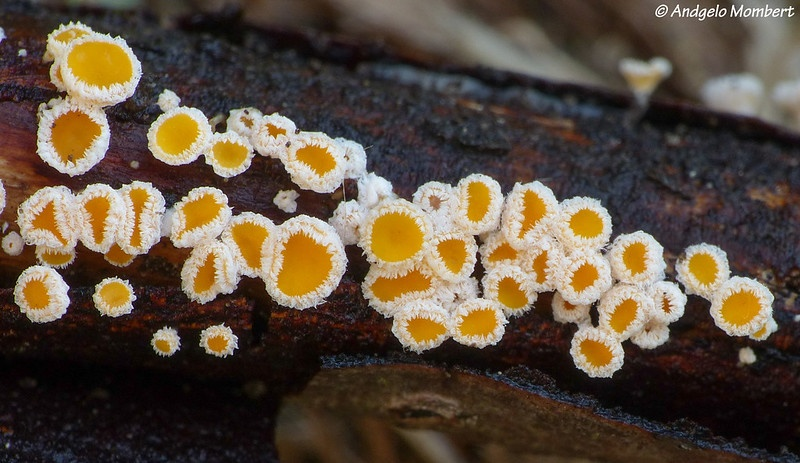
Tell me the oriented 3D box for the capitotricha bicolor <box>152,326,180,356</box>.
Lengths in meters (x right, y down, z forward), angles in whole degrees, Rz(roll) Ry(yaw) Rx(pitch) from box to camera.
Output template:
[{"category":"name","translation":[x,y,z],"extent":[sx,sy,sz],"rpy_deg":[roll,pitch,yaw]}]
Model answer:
[{"category":"capitotricha bicolor","translation":[-2.060,1.019,8.404],"extent":[0.244,0.240,0.073],"rpy_deg":[24,106,29]}]
